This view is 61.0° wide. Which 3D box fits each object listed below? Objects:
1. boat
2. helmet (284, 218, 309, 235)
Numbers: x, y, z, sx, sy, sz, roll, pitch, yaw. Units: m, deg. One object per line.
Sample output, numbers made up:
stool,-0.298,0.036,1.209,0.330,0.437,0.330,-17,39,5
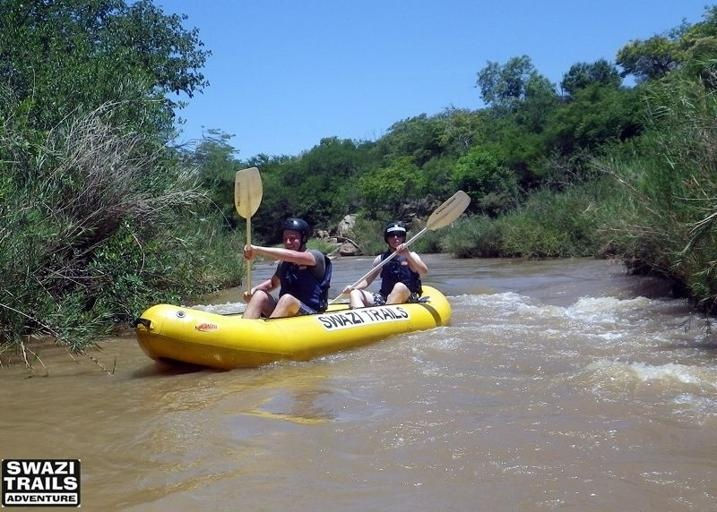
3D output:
boat,-0.656,0.967,7.820,3.197,0.565,1.431,1,-2,-42
helmet,-0.816,-0.442,7.976,0.202,0.281,0.221,7,-12,32
